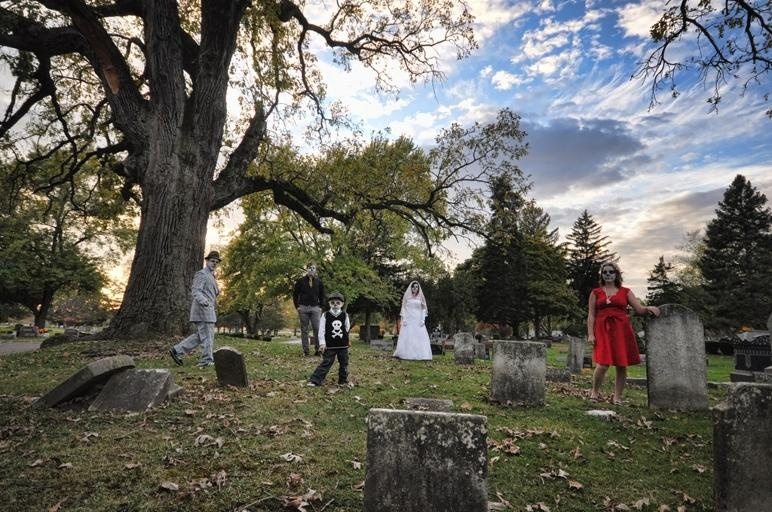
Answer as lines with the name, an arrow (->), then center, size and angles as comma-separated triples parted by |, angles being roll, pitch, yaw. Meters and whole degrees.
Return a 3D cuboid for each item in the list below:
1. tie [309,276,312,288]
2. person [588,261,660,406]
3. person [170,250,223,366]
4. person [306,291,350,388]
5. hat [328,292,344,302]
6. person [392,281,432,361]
tie -> -2.385, 0.811, 16.472 | 0.151, 0.308, 0.077 | 4, -9, -13
person -> 5.293, 1.717, 12.016 | 1.228, 3.277, 1.177 | -2, -10, 26
person -> -5.069, 1.375, 13.938 | 1.023, 3.060, 1.270 | 5, -9, -20
person -> -1.401, 2.142, 13.362 | 0.873, 2.314, 0.990 | 0, -9, 16
hat -> -1.299, 1.034, 13.268 | 0.356, 0.254, 0.543 | 3, -10, -8
person -> 0.915, 2.170, 17.784 | 1.188, 2.720, 0.757 | 2, -9, 1
